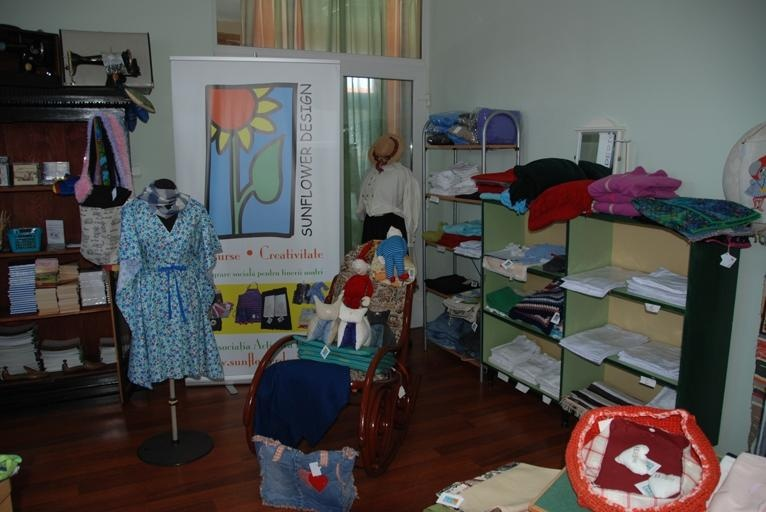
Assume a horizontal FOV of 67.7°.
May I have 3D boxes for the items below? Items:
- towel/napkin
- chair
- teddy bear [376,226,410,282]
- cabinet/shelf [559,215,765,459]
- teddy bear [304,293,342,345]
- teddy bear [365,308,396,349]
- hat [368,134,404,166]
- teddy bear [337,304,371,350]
[{"bbox_3d":[1.512,0.060,3.996,0.569,1.989,2.191,-7,14,-38],"label":"towel/napkin"},{"bbox_3d":[-0.280,0.798,4.205,0.894,1.204,1.485,3,11,18],"label":"chair"},{"bbox_3d":[0.078,-0.005,4.227,0.202,0.401,0.132,-3,-13,5],"label":"teddy bear"},{"bbox_3d":[1.803,0.512,3.770,0.532,1.508,1.100,-13,16,-43],"label":"cabinet/shelf"},{"bbox_3d":[-0.400,0.442,4.038,0.211,0.335,0.250,11,10,3],"label":"teddy bear"},{"bbox_3d":[0.014,0.536,4.072,0.193,0.229,0.074,-4,-7,-22],"label":"teddy bear"},{"bbox_3d":[0.026,-0.976,5.249,0.317,0.276,0.173,-2,12,2],"label":"hat"},{"bbox_3d":[-0.204,0.481,3.998,0.226,0.312,0.231,9,8,23],"label":"teddy bear"}]
